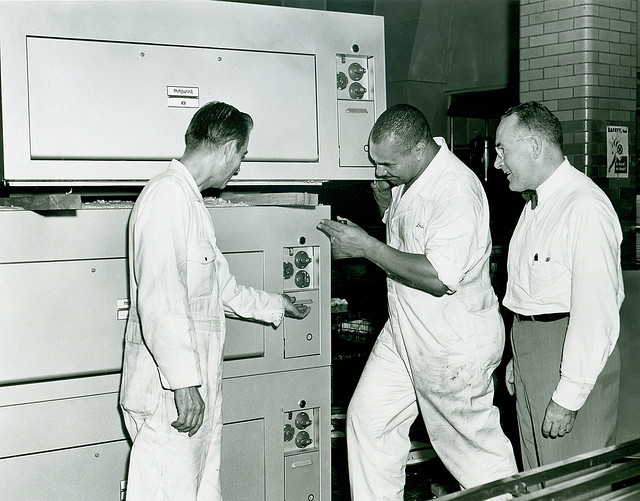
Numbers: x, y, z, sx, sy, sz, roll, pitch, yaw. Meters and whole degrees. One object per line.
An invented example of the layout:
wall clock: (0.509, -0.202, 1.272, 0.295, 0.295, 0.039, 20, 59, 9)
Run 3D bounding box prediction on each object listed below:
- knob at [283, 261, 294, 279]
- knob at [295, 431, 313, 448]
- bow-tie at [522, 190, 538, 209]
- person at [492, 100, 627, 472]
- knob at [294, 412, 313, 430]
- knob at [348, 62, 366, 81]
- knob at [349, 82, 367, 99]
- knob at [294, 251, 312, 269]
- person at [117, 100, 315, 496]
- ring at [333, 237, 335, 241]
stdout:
knob: (-0.142, 0.090, 3.049, 0.062, 0.068, 0.020, 4, -4, -32)
knob: (-0.076, 0.893, 3.101, 0.069, 0.076, 0.027, 4, 6, -24)
bow-tie: (0.917, -0.223, 2.864, 0.031, 0.074, 0.050, 0, 1, -42)
person: (0.967, 0.194, 2.750, 0.552, 1.610, 0.377, 5, 9, 25)
knob: (-0.082, 0.800, 3.105, 0.078, 0.085, 0.040, 2, -7, -31)
knob: (0.180, -0.892, 3.266, 0.081, 0.073, 0.029, -8, 4, -26)
knob: (0.182, -0.798, 3.274, 0.077, 0.070, 0.029, 2, 10, -22)
knob: (-0.074, 0.044, 3.085, 0.094, 0.084, 0.024, -4, 10, -30)
person: (-0.513, 0.238, 2.666, 0.383, 1.647, 0.671, 4, 9, 21)
ring: (0.064, -0.057, 3.100, 0.014, 0.015, 0.014, 0, 6, 0)
